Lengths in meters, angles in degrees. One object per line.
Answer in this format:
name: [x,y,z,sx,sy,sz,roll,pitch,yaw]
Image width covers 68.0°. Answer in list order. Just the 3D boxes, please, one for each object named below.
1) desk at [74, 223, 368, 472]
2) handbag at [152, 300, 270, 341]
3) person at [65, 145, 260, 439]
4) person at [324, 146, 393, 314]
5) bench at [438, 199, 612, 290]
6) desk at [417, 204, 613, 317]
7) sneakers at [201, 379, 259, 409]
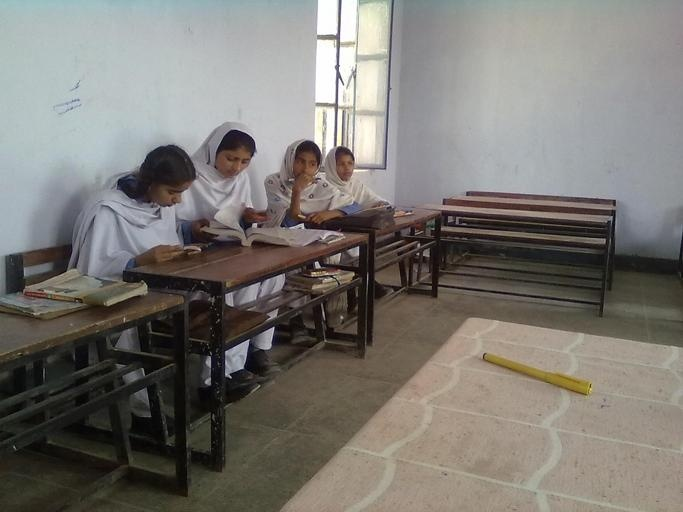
desk: [-0.330,0.298,2.675,0.446,0.632,1.340,1,10,30]
handbag: [-0.584,0.292,2.297,0.305,0.086,0.295,5,6,27]
person: [-1.049,0.113,2.727,0.646,1.362,0.651,11,12,24]
person: [0.105,-0.302,4.513,0.795,1.299,0.655,6,13,37]
bench: [1.871,-0.053,5.327,1.659,0.755,1.182,12,9,26]
desk: [1.919,-0.043,5.374,1.704,0.793,1.227,7,6,26]
sneakers: [-0.601,0.709,2.603,0.212,0.102,0.272,0,2,28]
